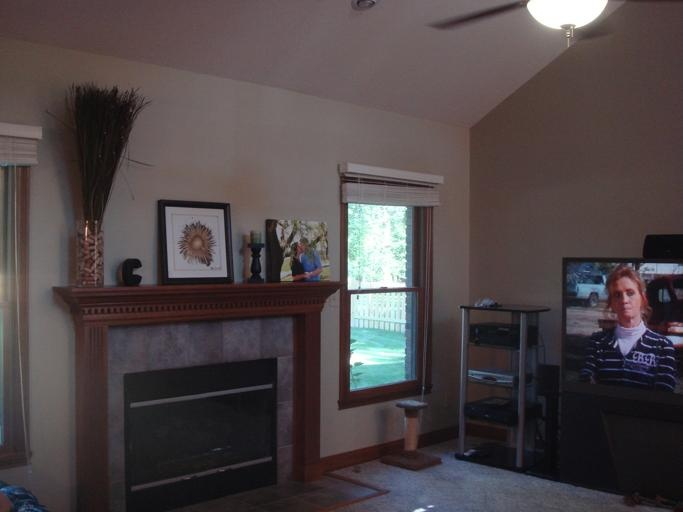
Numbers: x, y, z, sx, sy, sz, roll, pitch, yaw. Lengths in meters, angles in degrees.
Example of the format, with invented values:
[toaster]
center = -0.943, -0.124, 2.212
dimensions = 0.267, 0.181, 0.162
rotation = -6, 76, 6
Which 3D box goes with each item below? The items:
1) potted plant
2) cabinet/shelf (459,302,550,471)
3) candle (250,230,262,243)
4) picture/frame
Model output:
[potted plant]
center = -1.497, -0.453, 3.350
dimensions = 0.507, 0.937, 0.305
rotation = -1, 0, -29
[cabinet/shelf]
center = 1.358, 1.056, 4.741
dimensions = 0.801, 1.349, 0.652
rotation = -1, 0, 25
[candle]
center = -0.611, -0.134, 3.959
dimensions = 0.079, 0.078, 0.080
rotation = 1, 0, -37
[picture/frame]
center = -1.010, -0.094, 3.723
dimensions = 0.574, 0.665, 0.055
rotation = 3, -13, -38
